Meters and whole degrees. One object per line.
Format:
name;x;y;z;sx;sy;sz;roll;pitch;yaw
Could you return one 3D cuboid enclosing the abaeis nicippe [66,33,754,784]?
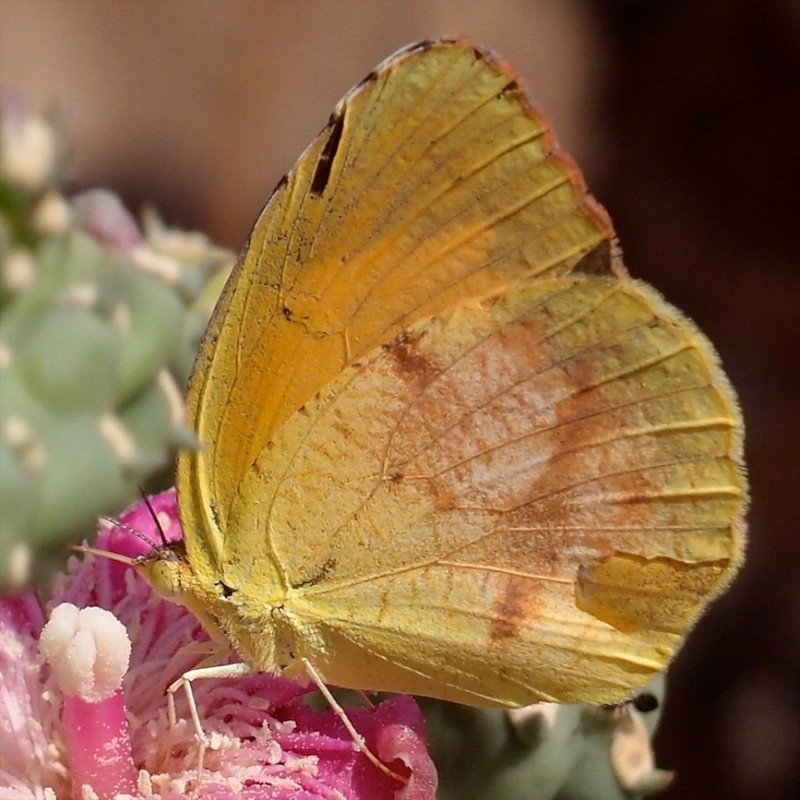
abaeis nicippe;0.070;0.015;1.253;0.757;0.642;0.516;5;1;-14
